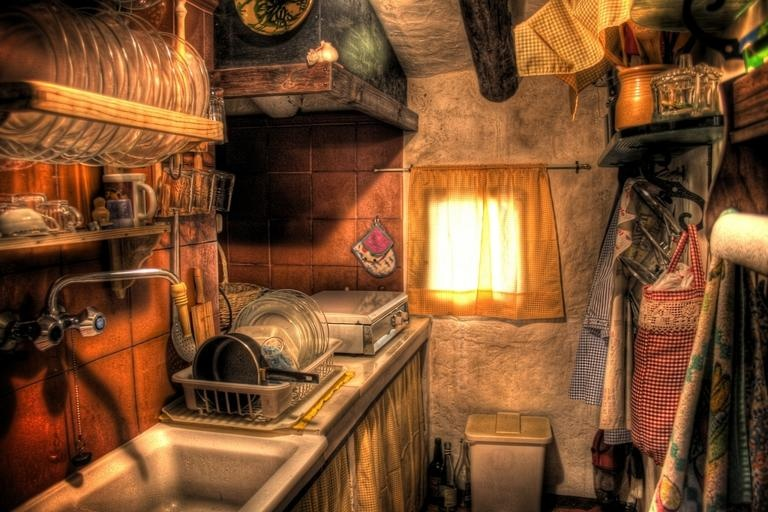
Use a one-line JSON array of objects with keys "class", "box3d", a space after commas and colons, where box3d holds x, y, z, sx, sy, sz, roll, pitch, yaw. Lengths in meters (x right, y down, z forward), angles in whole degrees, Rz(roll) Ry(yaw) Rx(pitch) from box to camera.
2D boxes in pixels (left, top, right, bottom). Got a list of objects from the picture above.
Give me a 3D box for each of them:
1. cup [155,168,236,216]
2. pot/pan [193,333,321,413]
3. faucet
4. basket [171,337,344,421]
[{"class": "cup", "box3d": [-0.654, -0.236, 2.019, 0.250, 0.246, 0.143, -1, 8, -4]}, {"class": "pot/pan", "box3d": [-0.458, 0.412, 2.037, 0.431, 0.263, 0.149, 2, 29, -4]}, {"class": "faucet", "box3d": [-0.787, 0.157, 1.669, 0.063, 0.236, 0.439, -8, 0, 38]}, {"class": "basket", "box3d": [-0.494, 0.462, 1.988, 0.315, 0.105, 0.458, 2, 5, 19]}]
